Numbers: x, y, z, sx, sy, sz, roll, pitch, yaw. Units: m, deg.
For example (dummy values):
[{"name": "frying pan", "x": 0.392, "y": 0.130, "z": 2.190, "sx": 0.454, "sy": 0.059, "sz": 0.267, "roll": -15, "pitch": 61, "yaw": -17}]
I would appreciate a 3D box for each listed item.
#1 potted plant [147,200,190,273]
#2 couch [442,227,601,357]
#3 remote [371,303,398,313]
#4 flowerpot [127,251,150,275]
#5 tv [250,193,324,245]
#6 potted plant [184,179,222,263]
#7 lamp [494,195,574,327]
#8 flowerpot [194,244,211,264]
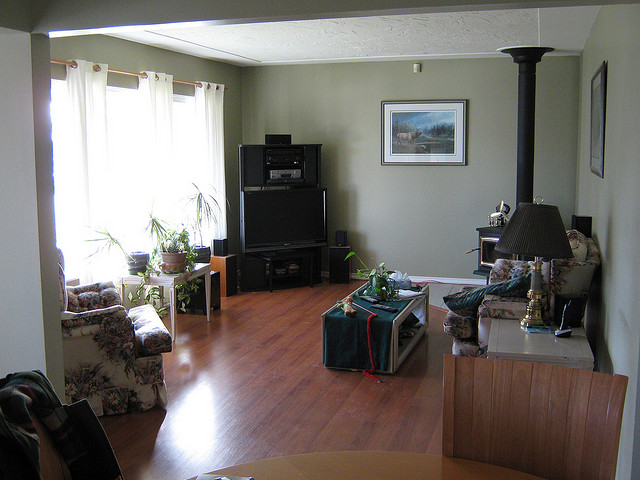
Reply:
[{"name": "potted plant", "x": -1.579, "y": -0.008, "z": 5.074, "sx": 0.444, "sy": 0.674, "sz": 0.325, "roll": 1, "pitch": 1, "yaw": -36}, {"name": "couch", "x": 1.708, "y": 0.485, "z": 4.131, "sx": 1.225, "sy": 1.158, "sz": 1.350, "roll": 0, "pitch": 8, "yaw": 29}, {"name": "remote", "x": 0.585, "y": 0.600, "z": 4.342, "sx": 0.132, "sy": 0.025, "sz": 0.082, "roll": 13, "pitch": 6, "yaw": 30}, {"name": "flowerpot", "x": -1.816, "y": 0.226, "z": 4.888, "sx": 0.193, "sy": 0.199, "sz": 0.201, "roll": 3, "pitch": 8, "yaw": 8}, {"name": "tv", "x": -0.428, "y": -0.305, "z": 6.805, "sx": 1.110, "sy": 0.768, "sz": 0.043, "roll": -3, "pitch": 11, "yaw": -21}, {"name": "potted plant", "x": -1.451, "y": -0.266, "z": 6.119, "sx": 0.436, "sy": 0.947, "sz": 1.063, "roll": -2, "pitch": 10, "yaw": -11}, {"name": "lamp", "x": 1.479, "y": 0.144, "z": 3.326, "sx": 0.501, "sy": 0.889, "sz": 0.540, "roll": -2, "pitch": 6, "yaw": -13}, {"name": "flowerpot", "x": -1.370, "y": 0.179, "z": 5.751, "sx": 0.143, "sy": 0.192, "sz": 0.321, "roll": 4, "pitch": 11, "yaw": 23}]
